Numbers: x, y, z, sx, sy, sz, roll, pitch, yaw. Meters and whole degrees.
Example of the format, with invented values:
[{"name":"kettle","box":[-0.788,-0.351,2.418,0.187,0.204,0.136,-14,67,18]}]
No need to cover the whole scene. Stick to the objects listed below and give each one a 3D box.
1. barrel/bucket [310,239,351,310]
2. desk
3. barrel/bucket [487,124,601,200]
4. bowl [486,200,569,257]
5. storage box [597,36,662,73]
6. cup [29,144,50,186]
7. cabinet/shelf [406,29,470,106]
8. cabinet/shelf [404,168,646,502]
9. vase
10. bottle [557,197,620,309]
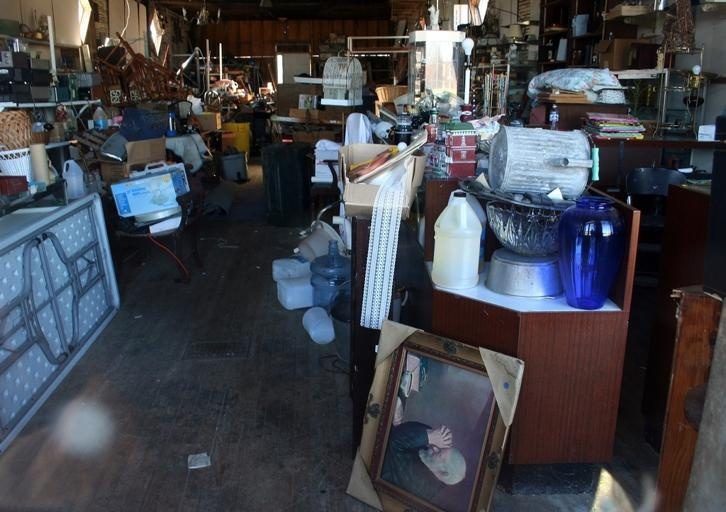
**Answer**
[{"name":"barrel/bucket","box":[-0.213,0.140,3.427,0.293,0.481,0.318,2,26,-1]},{"name":"desk","box":[-1.725,-0.209,4.396,0.663,0.789,0.735,-3,13,-19]},{"name":"barrel/bucket","box":[0.714,-0.418,2.245,0.404,0.303,0.427,8,22,-3]},{"name":"bowl","box":[0.703,-0.123,2.157,0.308,0.190,0.316,-7,-11,-1]},{"name":"storage box","box":[3.482,-2.647,6.670,0.414,0.369,1.005,-11,24,-22]},{"name":"cup","box":[-2.040,-0.571,3.200,0.089,0.243,0.179,-10,22,-22]},{"name":"cabinet/shelf","box":[0.563,-1.464,3.954,0.433,0.522,0.470,2,21,9]},{"name":"cabinet/shelf","box":[0.580,0.138,2.883,0.878,1.931,1.286,0,11,-2]},{"name":"vase","box":[0.890,-0.006,1.976,0.267,0.477,0.280,-14,21,-36]},{"name":"bottle","box":[0.905,-0.011,2.002,0.257,0.408,0.168,-9,22,-20]}]
